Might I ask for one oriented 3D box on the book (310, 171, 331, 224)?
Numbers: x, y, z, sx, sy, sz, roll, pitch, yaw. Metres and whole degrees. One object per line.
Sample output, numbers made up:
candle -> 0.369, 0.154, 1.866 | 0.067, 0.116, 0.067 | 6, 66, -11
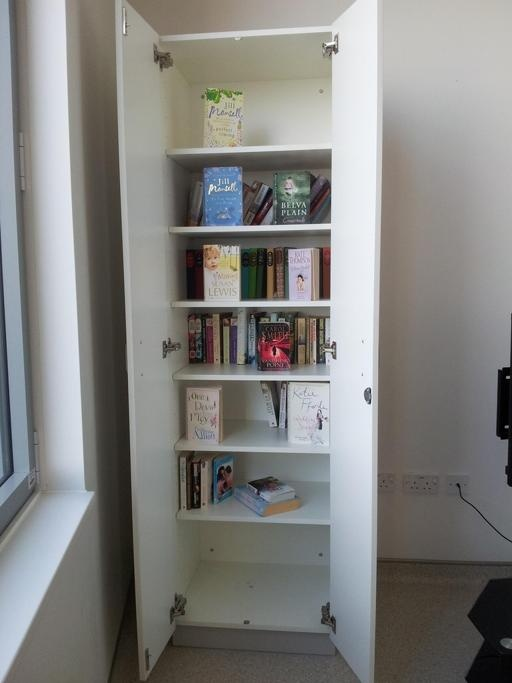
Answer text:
book -> 0.218, -0.500, 2.063 | 0.023, 0.149, 0.120 | 5, 9, 8

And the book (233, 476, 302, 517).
book -> 0.032, 0.540, 2.132 | 0.106, 0.055, 0.147 | -3, 7, -22

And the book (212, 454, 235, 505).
book -> -0.123, 0.500, 2.172 | 0.040, 0.149, 0.125 | -2, -4, 11

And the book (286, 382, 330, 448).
book -> 0.175, 0.229, 2.036 | 0.134, 0.303, 0.175 | 1, -2, 5

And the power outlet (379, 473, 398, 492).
power outlet -> 0.535, 0.575, 2.454 | 0.057, 0.083, 0.017 | 1, -1, 3

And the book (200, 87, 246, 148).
book -> -0.107, -0.765, 2.025 | 0.131, 0.029, 0.232 | -3, -31, -7

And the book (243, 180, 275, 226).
book -> 0.013, -0.497, 2.210 | 0.102, 0.227, 0.133 | 4, 4, 5

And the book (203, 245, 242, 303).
book -> -0.120, -0.245, 2.164 | 0.123, 0.277, 0.156 | 0, 3, -1

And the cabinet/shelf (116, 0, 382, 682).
cabinet/shelf -> 0.034, -0.088, 1.976 | 0.724, 2.228, 0.839 | 1, 6, 12

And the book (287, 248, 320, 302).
book -> 0.152, -0.228, 2.042 | 0.110, 0.317, 0.147 | 1, 4, 3

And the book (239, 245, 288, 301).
book -> 0.025, -0.212, 2.144 | 0.164, 0.250, 0.150 | 0, 3, 3

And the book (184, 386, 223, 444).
book -> -0.181, 0.253, 2.069 | 0.121, 0.268, 0.076 | 0, 3, 6

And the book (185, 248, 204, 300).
book -> -0.227, -0.252, 2.278 | 0.097, 0.206, 0.169 | -1, 0, -3
